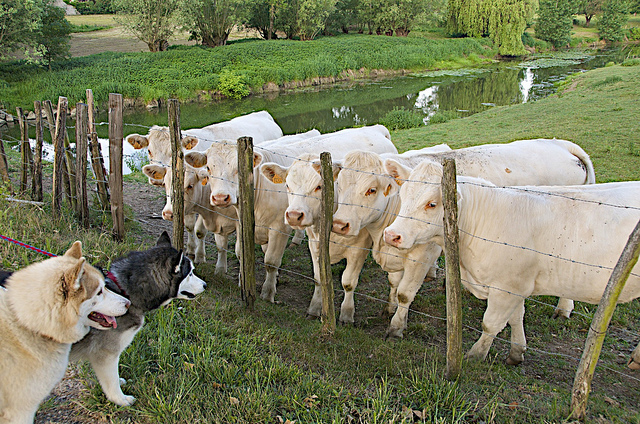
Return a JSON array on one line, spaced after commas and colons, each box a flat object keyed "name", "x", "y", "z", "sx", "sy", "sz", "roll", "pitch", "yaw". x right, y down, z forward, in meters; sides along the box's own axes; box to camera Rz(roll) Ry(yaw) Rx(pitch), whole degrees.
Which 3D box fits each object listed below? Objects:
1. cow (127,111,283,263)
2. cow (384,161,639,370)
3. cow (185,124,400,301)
[{"name": "cow", "x": -2.109, "y": -1.266, "z": 15.656, "sx": 2.089, "sy": 3.171, "sz": 5.541, "roll": 1, "pitch": 16, "yaw": 30}, {"name": "cow", "x": 3.554, "y": 1.101, "z": 11.343, "sx": 3.648, "sy": 2.475, "sz": 1.242, "roll": -2, "pitch": 15, "yaw": 7}, {"name": "cow", "x": 0.292, "y": -0.802, "z": 15.113, "sx": 2.093, "sy": 3.931, "sz": 7.326, "roll": 7, "pitch": 11, "yaw": 34}]
